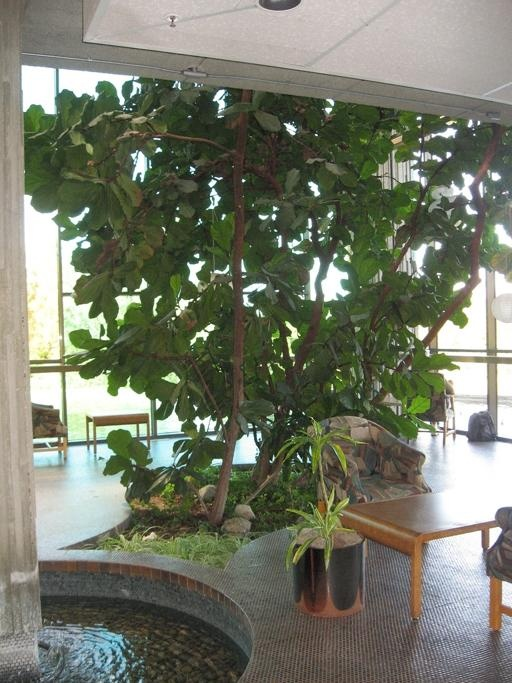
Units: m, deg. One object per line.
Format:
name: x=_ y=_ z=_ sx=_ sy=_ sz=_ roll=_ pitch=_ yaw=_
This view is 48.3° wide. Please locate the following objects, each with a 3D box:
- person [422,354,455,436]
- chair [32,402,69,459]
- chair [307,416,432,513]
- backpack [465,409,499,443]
person: x=2.553 y=0.892 z=7.915 sx=0.423 sy=0.873 sz=2.030 roll=-2 pitch=-3 yaw=19
chair: x=-2.533 y=1.086 z=6.992 sx=0.406 sy=0.690 sz=0.737 roll=1 pitch=-4 yaw=-19
chair: x=0.706 y=0.768 z=3.361 sx=0.623 sy=0.592 sz=0.637 roll=0 pitch=1 yaw=1
backpack: x=3.146 y=1.155 z=7.912 sx=0.453 sy=0.399 sz=0.383 roll=5 pitch=-5 yaw=-20
